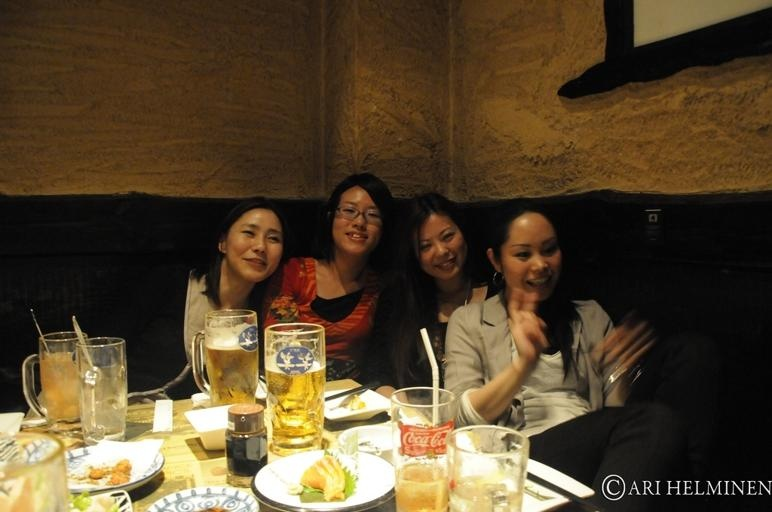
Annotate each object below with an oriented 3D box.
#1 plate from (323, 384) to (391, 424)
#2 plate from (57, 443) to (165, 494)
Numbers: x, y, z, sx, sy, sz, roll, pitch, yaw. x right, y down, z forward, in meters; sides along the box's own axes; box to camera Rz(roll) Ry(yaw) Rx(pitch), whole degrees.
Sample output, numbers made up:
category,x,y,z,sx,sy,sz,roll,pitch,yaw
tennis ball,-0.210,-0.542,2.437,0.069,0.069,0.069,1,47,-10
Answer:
category,x,y,z,sx,sy,sz,roll,pitch,yaw
plate,-0.111,0.571,2.082,0.182,0.040,0.148,-5,11,-21
plate,-0.842,0.652,1.652,0.307,0.060,0.318,-1,-7,-5
